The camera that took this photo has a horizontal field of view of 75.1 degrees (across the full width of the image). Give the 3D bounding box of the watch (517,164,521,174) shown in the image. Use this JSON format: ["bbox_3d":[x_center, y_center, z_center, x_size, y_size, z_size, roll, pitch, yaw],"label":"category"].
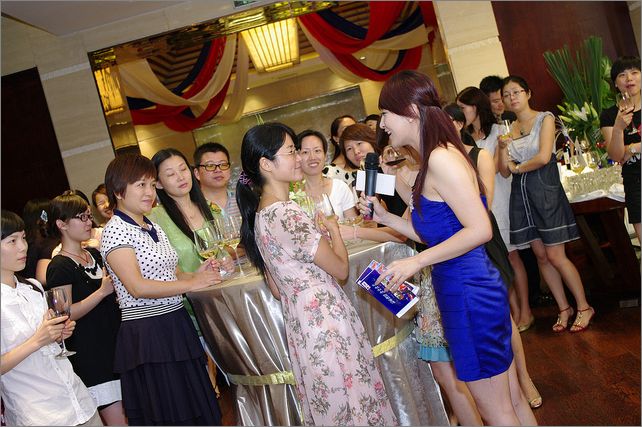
[{"bbox_3d":[1.968,-0.445,4.154,0.041,0.074,0.072,0,-16,16],"label":"watch"}]

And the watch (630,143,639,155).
[{"bbox_3d":[2.746,-0.562,3.669,0.027,0.080,0.071,-3,14,-5],"label":"watch"}]

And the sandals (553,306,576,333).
[{"bbox_3d":[2.384,1.041,4.104,0.367,0.167,0.119,-14,-1,-44],"label":"sandals"}]

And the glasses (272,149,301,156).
[{"bbox_3d":[-0.215,-0.368,2.565,0.098,0.031,0.099,-4,7,9],"label":"glasses"}]

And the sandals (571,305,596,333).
[{"bbox_3d":[2.493,1.026,3.967,0.354,0.151,0.128,-43,12,-28],"label":"sandals"}]

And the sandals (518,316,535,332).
[{"bbox_3d":[2.132,1.139,4.319,0.261,0.118,0.095,-5,3,-36],"label":"sandals"}]

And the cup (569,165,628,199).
[{"bbox_3d":[2.876,-0.309,4.369,0.382,0.249,0.383,-13,-7,-2],"label":"cup"}]
